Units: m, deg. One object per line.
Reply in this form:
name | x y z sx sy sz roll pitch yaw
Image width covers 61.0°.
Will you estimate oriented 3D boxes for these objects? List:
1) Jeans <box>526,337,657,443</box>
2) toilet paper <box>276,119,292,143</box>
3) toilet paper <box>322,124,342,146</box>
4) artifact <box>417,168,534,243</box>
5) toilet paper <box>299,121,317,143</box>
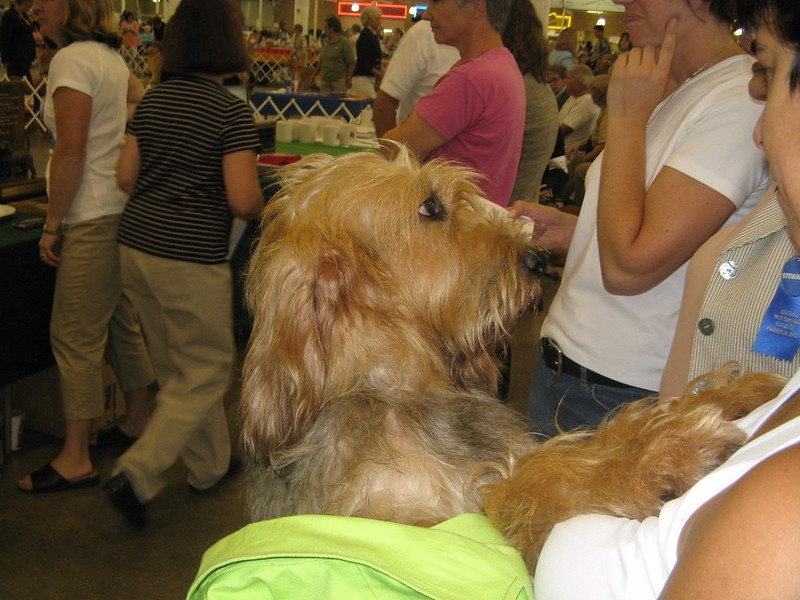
Jeans | 0.589 0.273 2.065 0.152 0.222 0.292 -9 18 -38
toilet paper | -1.081 -1.562 6.330 0.167 0.179 0.183 5 16 7
toilet paper | -0.656 -1.513 6.321 0.175 0.215 0.182 1 0 7
artifact | 0.300 -0.362 2.345 0.080 0.167 0.415 -21 53 -28
toilet paper | -0.865 -1.602 6.477 0.162 0.208 0.215 2 6 -1
